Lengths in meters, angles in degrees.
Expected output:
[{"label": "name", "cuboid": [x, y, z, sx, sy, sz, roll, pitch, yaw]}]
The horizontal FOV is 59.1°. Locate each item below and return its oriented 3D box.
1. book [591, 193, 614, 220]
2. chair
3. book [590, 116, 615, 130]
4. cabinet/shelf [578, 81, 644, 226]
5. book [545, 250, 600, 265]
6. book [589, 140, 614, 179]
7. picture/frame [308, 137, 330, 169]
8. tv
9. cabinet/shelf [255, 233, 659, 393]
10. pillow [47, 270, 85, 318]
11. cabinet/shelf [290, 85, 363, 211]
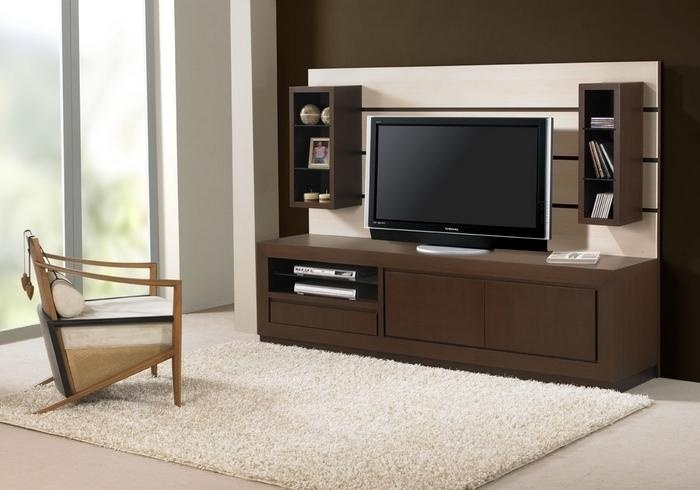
[{"label": "book", "cuboid": [1.632, -0.252, 3.995, 0.039, 0.152, 0.149, 8, 5, -22]}, {"label": "chair", "cuboid": [-1.565, 0.448, 3.885, 0.917, 0.947, 0.790, 0, 7, -35]}, {"label": "book", "cuboid": [1.594, -0.773, 3.908, 0.159, 0.076, 0.080, 7, 12, 37]}, {"label": "cabinet/shelf", "cuboid": [1.587, -0.549, 3.920, 0.294, 0.846, 0.310, 1, 0, 20]}, {"label": "book", "cuboid": [1.451, 0.082, 4.021, 0.330, 0.037, 0.281, 3, 10, 17]}, {"label": "book", "cuboid": [1.605, -0.545, 3.978, 0.051, 0.214, 0.210, -9, -2, 21]}, {"label": "picture/frame", "cuboid": [-0.242, -0.737, 4.905, 0.248, 0.294, 0.022, 3, 3, 20]}, {"label": "tv", "cuboid": [0.824, -0.437, 4.407, 1.003, 0.723, 0.147, 2, 4, 25]}, {"label": "cabinet/shelf", "cuboid": [0.651, 0.441, 4.541, 2.529, 0.738, 0.639, 4, 10, 19]}, {"label": "pillow", "cuboid": [-1.687, 0.281, 3.684, 0.182, 0.247, 0.266, -5, 11, -26]}, {"label": "cabinet/shelf", "cuboid": [-0.190, -0.779, 4.895, 0.587, 0.945, 0.279, 0, 10, 0]}]
